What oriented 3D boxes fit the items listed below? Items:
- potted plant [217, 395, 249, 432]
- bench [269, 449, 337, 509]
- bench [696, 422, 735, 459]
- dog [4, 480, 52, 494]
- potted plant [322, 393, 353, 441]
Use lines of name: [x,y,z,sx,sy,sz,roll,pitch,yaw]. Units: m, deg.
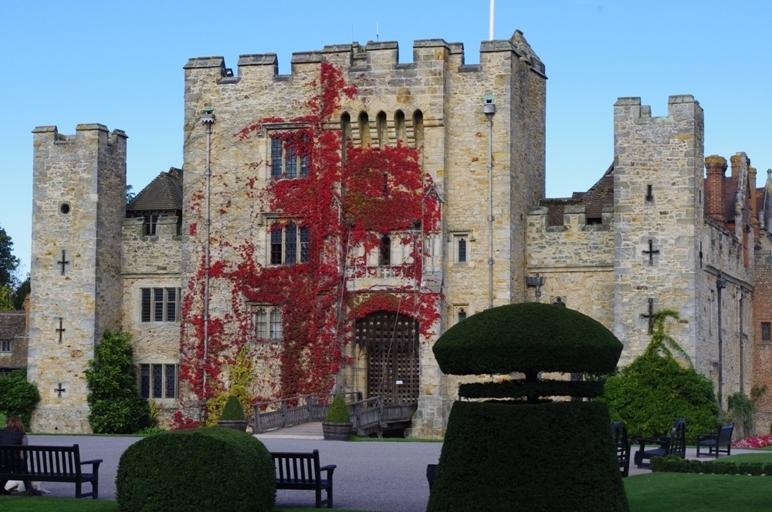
potted plant: [-6.320,6.289,76.463,1.187,1.366,1.386,1,-7,-4]
bench: [-2.885,7.524,63.242,2.313,1.176,0.977,1,1,22]
bench: [12.711,6.983,71.640,1.007,1.147,2.230,0,-2,22]
dog: [-12.370,7.920,63.934,1.613,0.565,0.595,4,1,44]
potted plant: [-1.981,6.400,75.221,1.137,1.818,1.286,1,-7,-1]
